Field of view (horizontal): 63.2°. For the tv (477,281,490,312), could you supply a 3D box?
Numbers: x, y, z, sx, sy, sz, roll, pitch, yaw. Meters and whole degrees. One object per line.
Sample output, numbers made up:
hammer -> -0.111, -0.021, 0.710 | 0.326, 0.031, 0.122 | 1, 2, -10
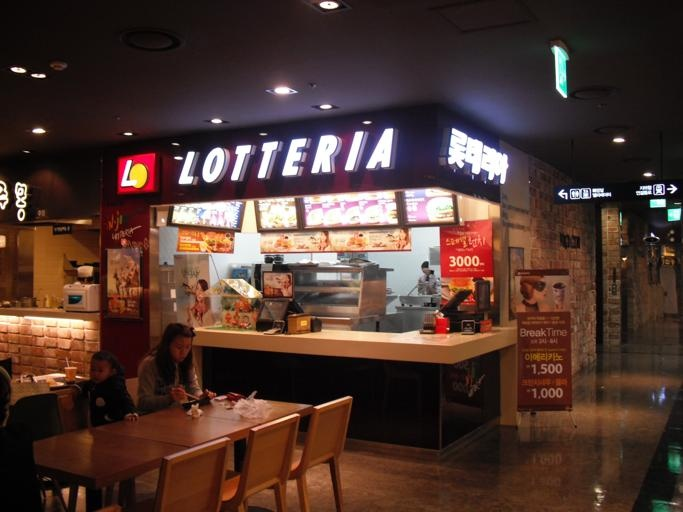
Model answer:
tv -> 1.814, 0.496, 7.082 | 0.206, 0.396, 0.079 | 0, -1, -16

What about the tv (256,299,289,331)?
tv -> -0.858, 0.737, 6.876 | 0.409, 0.388, 0.188 | -1, -1, 32

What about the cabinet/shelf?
cabinet/shelf -> 0.010, 0.551, 8.015 | 1.368, 1.003, 1.048 | -2, -4, 27

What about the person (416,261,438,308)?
person -> 1.806, 0.536, 11.602 | 0.420, 0.850, 1.406 | 0, -1, 8

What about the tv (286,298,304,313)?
tv -> -0.524, 0.633, 6.947 | 0.181, 0.179, 0.330 | 5, -6, 3

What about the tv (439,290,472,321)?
tv -> 1.420, 0.587, 6.956 | 0.375, 0.341, 0.419 | -16, -7, 15

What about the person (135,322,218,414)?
person -> -1.469, 1.043, 5.272 | 0.771, 1.089, 0.654 | -9, -9, 27
